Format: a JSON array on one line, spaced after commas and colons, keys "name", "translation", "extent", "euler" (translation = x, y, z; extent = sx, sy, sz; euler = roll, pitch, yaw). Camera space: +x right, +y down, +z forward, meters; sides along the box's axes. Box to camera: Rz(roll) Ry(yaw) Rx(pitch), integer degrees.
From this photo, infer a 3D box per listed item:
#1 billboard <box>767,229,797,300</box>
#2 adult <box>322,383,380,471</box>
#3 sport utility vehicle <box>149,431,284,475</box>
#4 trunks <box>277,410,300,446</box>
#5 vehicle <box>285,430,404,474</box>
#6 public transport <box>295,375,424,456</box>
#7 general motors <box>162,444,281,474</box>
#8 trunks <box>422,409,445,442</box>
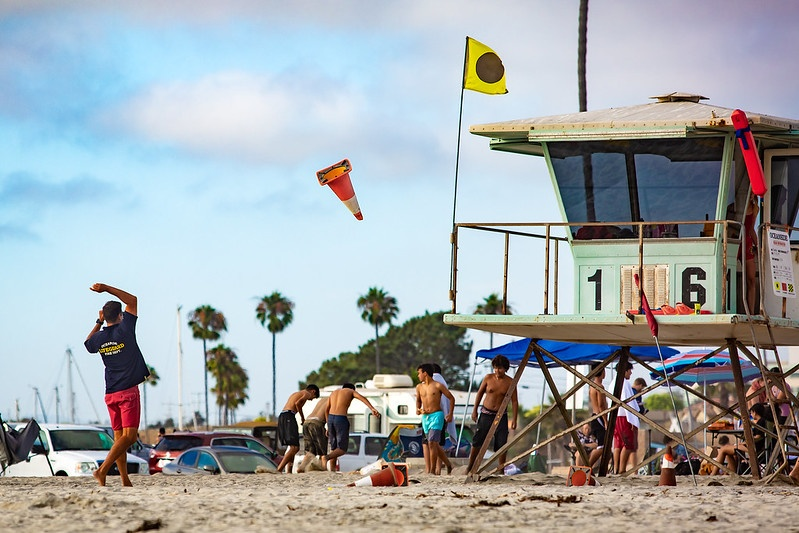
[{"name": "billboard", "translation": [6.786, 0.035, 30.633], "extent": [0.061, 1.322, 1.172], "euler": [-17, -16, 30]}, {"name": "adult", "translation": [-1.021, 3.275, 34.755], "extent": [1.223, 2.148, 0.803], "euler": [-7, -27, 20]}, {"name": "sport utility vehicle", "translation": [-4.216, 4.475, 38.962], "extent": [2.530, 0.933, 1.204], "euler": [-2, 0, -15]}, {"name": "trunks", "translation": [-2.280, 3.417, 35.394], "extent": [0.375, 0.753, 0.608], "euler": [-4, -6, -7]}, {"name": "vehicle", "translation": [-0.808, 4.253, 38.653], "extent": [1.650, 0.743, 0.916], "euler": [0, -1, -6]}, {"name": "public transport", "translation": [-0.470, 3.722, 43.507], "extent": [4.337, 2.050, 1.384], "euler": [-8, 9, 44]}, {"name": "general motors", "translation": [-3.688, 4.137, 35.672], "extent": [1.884, 0.705, 0.929], "euler": [-9, -5, 31]}, {"name": "trunks", "translation": [0.668, 3.100, 32.990], "extent": [0.464, 0.653, 0.374], "euler": [-12, -26, 36]}]
